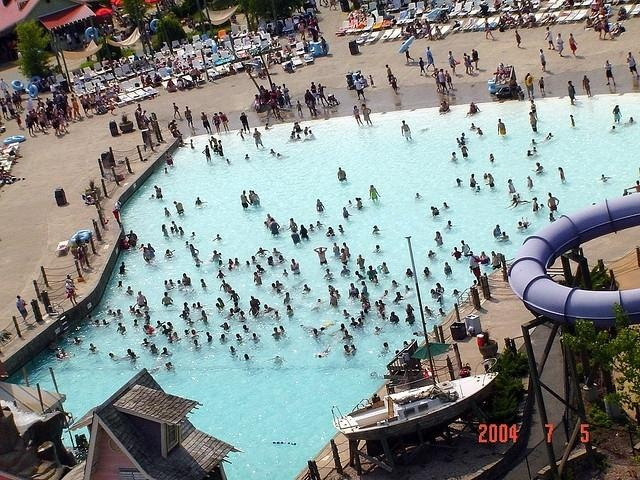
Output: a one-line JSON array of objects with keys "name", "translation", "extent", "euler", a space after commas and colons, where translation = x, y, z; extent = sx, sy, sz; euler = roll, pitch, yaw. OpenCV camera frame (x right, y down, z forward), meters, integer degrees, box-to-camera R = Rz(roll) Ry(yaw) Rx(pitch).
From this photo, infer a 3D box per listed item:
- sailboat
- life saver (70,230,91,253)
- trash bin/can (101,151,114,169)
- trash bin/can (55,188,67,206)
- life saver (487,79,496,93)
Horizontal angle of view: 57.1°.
[{"name": "sailboat", "translation": [3.924, 3.979, 23.523], "extent": [6.137, 6.321, 2.110], "euler": [-17, 11, -10]}, {"name": "life saver", "translation": [-14.859, 0.089, 36.372], "extent": [1.228, 0.756, 2.066], "euler": [-17, 19, -6]}, {"name": "trash bin/can", "translation": [-16.247, -6.063, 44.881], "extent": [0.512, 1.168, 1.156], "euler": [-6, 21, 24]}, {"name": "trash bin/can", "translation": [-18.664, -2.988, 42.162], "extent": [0.835, 1.168, 1.306], "euler": [-23, 21, -22]}, {"name": "life saver", "translation": [12.491, -11.032, 42.374], "extent": [0.459, 0.952, 0.650], "euler": [-12, 20, 8]}]
